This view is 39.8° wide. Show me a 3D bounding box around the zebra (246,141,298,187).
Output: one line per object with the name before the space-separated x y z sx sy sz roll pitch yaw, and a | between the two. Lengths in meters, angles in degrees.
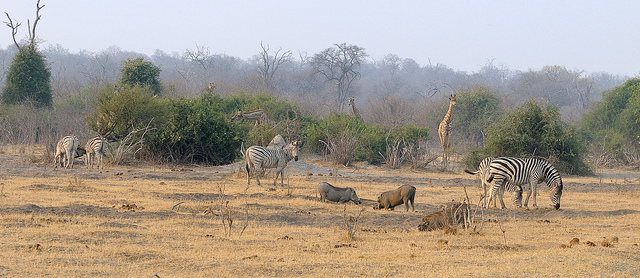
zebra | -5.279 3.017 97.921 5.572 4.251 1.661 0 -4 -9
